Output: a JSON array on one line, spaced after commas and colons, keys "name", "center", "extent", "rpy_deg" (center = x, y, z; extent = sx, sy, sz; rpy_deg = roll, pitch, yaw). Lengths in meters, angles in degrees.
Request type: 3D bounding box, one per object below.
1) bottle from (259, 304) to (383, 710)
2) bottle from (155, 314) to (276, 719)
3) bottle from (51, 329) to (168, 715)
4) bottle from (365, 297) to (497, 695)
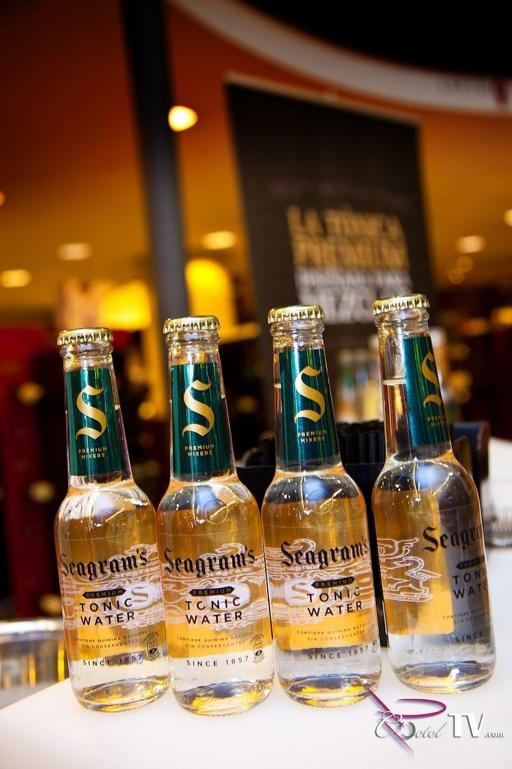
[{"name": "bottle", "center": [0.035, 0.076, 0.432], "extent": [0.063, 0.232, 0.034], "rpy_deg": [-6, 1, -1]}, {"name": "bottle", "center": [-0.031, 0.083, 0.439], "extent": [0.064, 0.245, 0.038], "rpy_deg": [-6, 1, -8]}, {"name": "bottle", "center": [-0.101, 0.091, 0.462], "extent": [0.065, 0.258, 0.038], "rpy_deg": [-6, 1, -12]}, {"name": "bottle", "center": [0.105, 0.070, 0.436], "extent": [0.067, 0.221, 0.050], "rpy_deg": [-6, 1, 14]}]
